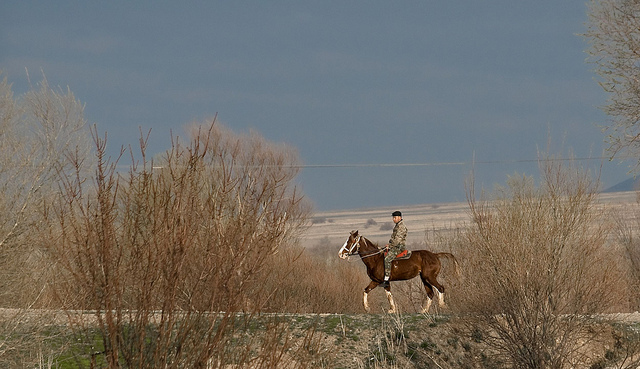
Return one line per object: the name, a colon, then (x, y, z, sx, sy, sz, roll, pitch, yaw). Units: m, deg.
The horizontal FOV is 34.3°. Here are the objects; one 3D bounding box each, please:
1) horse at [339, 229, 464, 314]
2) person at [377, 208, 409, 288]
horse: (3.253, 3.349, 40.130, 4.769, 3.519, 1.092, -1, 7, -4)
person: (2.776, 2.490, 39.431, 1.094, 2.881, 1.048, 0, -1, 25)
